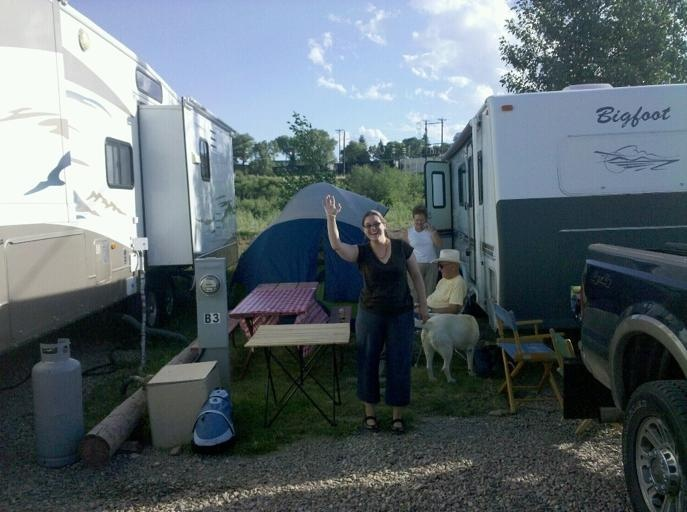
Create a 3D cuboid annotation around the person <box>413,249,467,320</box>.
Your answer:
[{"bbox_3d":[1.173,0.336,6.618,0.562,0.923,0.686,-1,3,-3],"label":"person"}]

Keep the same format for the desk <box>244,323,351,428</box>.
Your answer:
[{"bbox_3d":[-0.475,1.133,5.620,0.852,0.990,1.104,1,4,1],"label":"desk"}]

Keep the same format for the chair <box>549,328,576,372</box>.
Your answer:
[{"bbox_3d":[2.162,0.959,5.274,0.224,0.432,0.990,2,11,22],"label":"chair"}]

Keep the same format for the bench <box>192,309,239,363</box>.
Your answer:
[{"bbox_3d":[-1.532,0.999,6.418,0.555,0.436,1.157,-4,10,-10],"label":"bench"}]

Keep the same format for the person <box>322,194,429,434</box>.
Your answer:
[{"bbox_3d":[0.332,0.534,4.852,0.612,2.149,0.875,4,10,37],"label":"person"}]
